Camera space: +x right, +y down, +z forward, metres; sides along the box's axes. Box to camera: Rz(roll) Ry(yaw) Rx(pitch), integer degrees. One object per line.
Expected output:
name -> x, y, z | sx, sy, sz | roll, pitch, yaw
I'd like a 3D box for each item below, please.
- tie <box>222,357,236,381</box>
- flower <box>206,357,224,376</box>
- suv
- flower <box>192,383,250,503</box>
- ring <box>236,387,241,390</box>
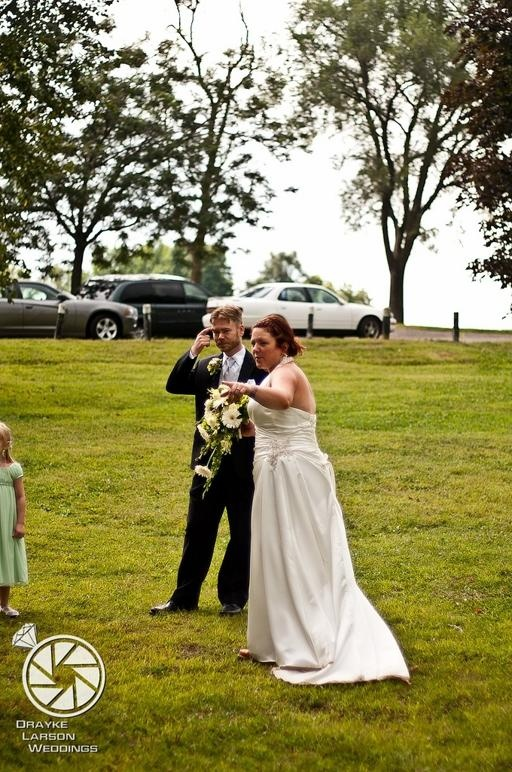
tie -> -0.197, -0.117, 8.803 | 0.100, 0.159, 0.037 | -1, -5, 11
flower -> -0.291, -0.141, 8.879 | 0.096, 0.131, 0.130 | 35, 10, 2
suv -> -2.201, -1.523, 25.621 | 2.217, 1.104, 1.180 | -5, 9, -21
flower -> -0.208, 0.283, 7.980 | 0.287, 0.271, 0.572 | -4, 19, 11
ring -> -0.111, 0.012, 7.380 | 0.019, 0.030, 0.017 | -3, 10, -38
